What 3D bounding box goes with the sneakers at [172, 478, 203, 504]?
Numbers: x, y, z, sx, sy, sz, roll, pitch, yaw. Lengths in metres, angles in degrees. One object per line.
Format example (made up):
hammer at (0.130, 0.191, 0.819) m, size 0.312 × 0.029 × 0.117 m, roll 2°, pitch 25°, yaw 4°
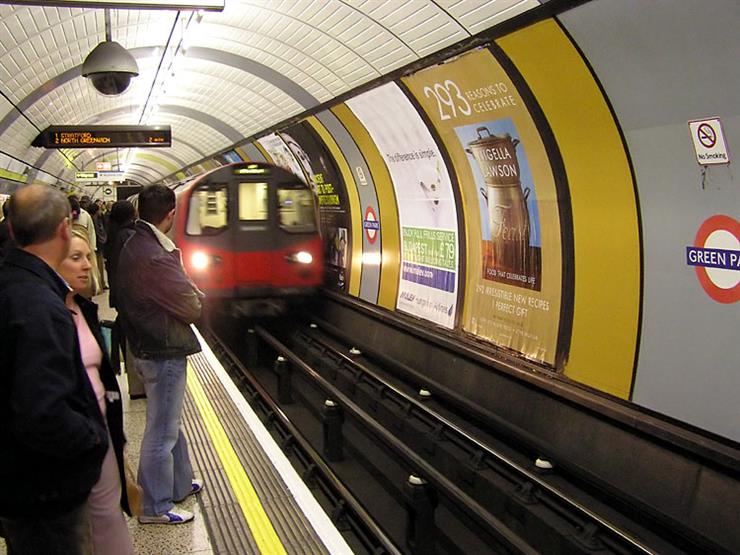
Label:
sneakers at (-1.707, 1.988, 4.013) m, size 0.096 × 0.110 × 0.273 m, roll 7°, pitch 18°, yaw 24°
